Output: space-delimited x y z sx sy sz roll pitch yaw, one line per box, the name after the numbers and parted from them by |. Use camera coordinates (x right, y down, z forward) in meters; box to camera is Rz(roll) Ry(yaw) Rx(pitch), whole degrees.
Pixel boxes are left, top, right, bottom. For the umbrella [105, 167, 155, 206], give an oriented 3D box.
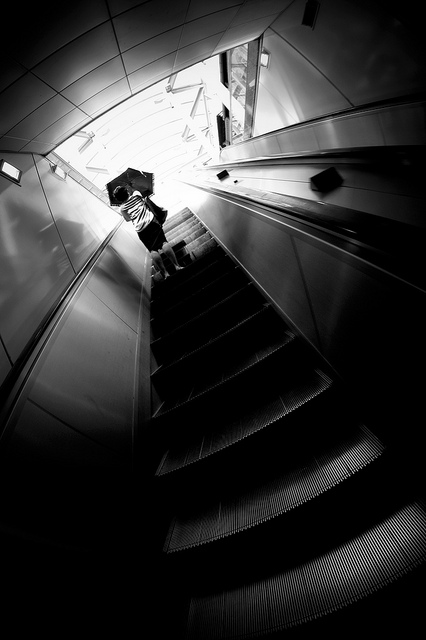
-1.261 -2.090 5.626 0.670 1.307 0.477 -14 -67 1 | umbrella

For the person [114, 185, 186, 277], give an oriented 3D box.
-0.933 -1.238 5.169 1.485 0.386 0.375 58 -37 6 | person
